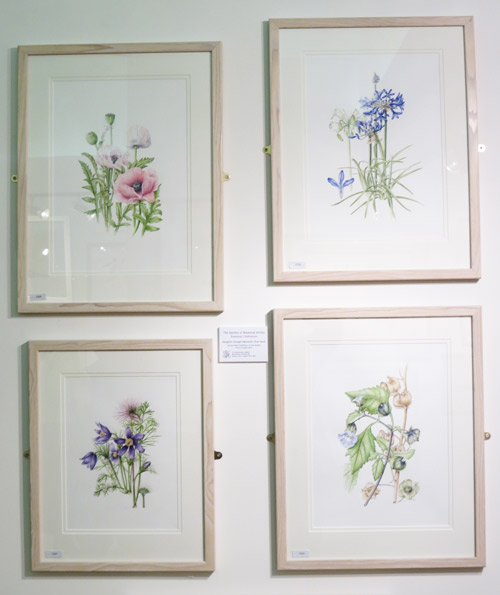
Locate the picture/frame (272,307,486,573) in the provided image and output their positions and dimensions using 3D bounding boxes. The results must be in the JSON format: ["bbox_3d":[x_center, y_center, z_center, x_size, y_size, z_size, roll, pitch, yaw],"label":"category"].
[{"bbox_3d":[0.255,0.306,1.430,0.429,0.631,0.020,-1,1,2],"label":"picture/frame"}]

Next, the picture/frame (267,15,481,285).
[{"bbox_3d":[0.256,-0.324,1.454,0.421,0.632,0.021,0,-22,7],"label":"picture/frame"}]

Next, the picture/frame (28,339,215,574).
[{"bbox_3d":[-0.255,0.341,1.434,0.384,0.596,0.020,-1,-3,-2],"label":"picture/frame"}]

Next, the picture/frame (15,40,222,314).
[{"bbox_3d":[-0.273,-0.257,1.455,0.410,0.644,0.022,-1,-22,-9],"label":"picture/frame"}]
